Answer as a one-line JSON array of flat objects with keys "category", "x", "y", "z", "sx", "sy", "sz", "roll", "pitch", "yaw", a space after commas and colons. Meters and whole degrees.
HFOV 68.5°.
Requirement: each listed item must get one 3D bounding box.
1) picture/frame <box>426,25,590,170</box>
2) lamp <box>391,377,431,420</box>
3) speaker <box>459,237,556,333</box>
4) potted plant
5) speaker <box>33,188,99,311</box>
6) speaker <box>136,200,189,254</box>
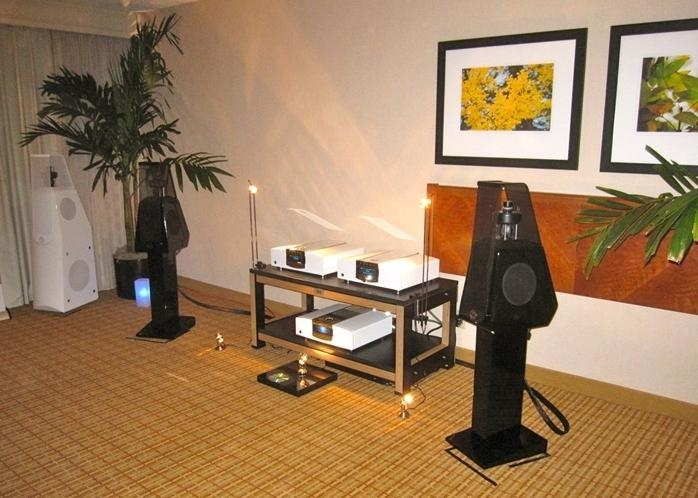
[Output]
[{"category": "picture/frame", "x": 1.053, "y": -0.992, "z": 3.295, "sx": 1.000, "sy": 0.843, "sz": 0.037, "roll": 5, "pitch": 11, "yaw": 30}, {"category": "lamp", "x": 0.392, "y": 0.949, "z": 3.257, "sx": 0.113, "sy": 0.032, "sz": 0.224, "roll": 11, "pitch": 31, "yaw": 30}, {"category": "speaker", "x": 0.820, "y": 0.181, "z": 2.645, "sx": 0.484, "sy": 0.465, "sz": 0.248, "roll": 5, "pitch": 16, "yaw": 18}, {"category": "potted plant", "x": -2.226, "y": -1.209, "z": 5.522, "sx": 2.049, "sy": 2.778, "sz": 2.293, "roll": 2, "pitch": 21, "yaw": 0}, {"category": "speaker", "x": -2.632, "y": -0.010, "z": 4.670, "sx": 0.385, "sy": 1.114, "sz": 0.442, "roll": 4, "pitch": 16, "yaw": 16}, {"category": "speaker", "x": -1.459, "y": -0.190, "z": 4.060, "sx": 0.387, "sy": 0.404, "sz": 0.414, "roll": -2, "pitch": 10, "yaw": -13}]
